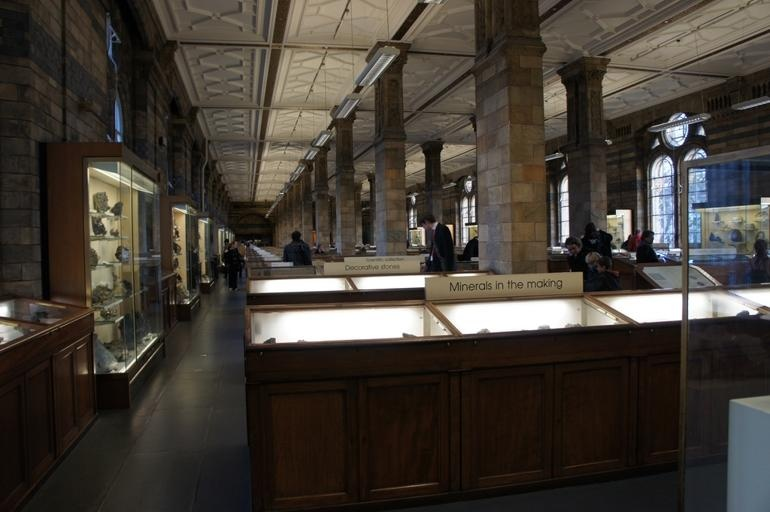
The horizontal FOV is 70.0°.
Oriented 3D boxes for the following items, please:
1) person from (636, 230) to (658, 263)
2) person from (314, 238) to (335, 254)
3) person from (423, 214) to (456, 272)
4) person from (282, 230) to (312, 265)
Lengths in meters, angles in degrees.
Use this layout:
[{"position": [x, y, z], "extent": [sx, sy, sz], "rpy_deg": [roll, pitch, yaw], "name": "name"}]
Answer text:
[{"position": [5.465, -0.221, 11.446], "extent": [0.340, 0.664, 1.407], "rpy_deg": [2, 8, 26], "name": "person"}, {"position": [-2.993, -0.337, 27.087], "extent": [1.215, 0.728, 1.206], "rpy_deg": [-1, 4, -16], "name": "person"}, {"position": [1.035, -0.045, 10.836], "extent": [0.511, 1.535, 0.600], "rpy_deg": [-11, 17, -22], "name": "person"}, {"position": [-2.278, -0.070, 14.105], "extent": [0.719, 1.167, 0.416], "rpy_deg": [-1, 34, -13], "name": "person"}]
